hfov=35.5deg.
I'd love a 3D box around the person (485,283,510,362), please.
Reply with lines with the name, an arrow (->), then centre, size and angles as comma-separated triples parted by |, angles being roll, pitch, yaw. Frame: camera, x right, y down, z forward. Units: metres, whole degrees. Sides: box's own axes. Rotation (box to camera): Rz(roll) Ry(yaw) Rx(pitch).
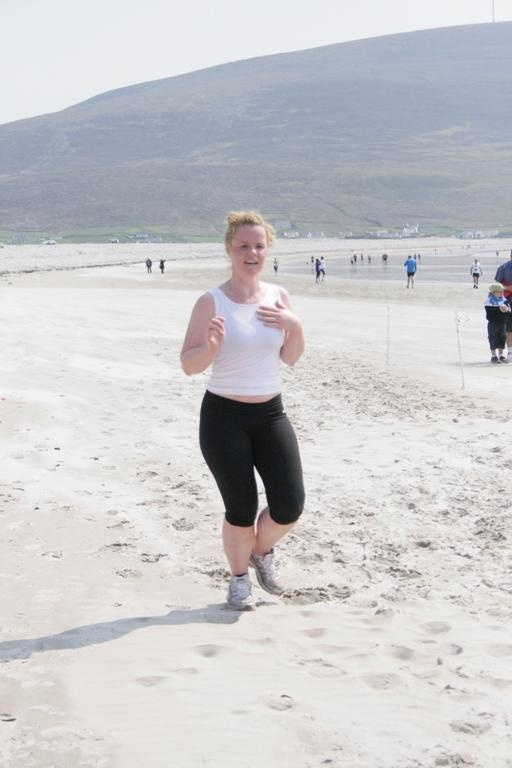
person -> 3.396, -0.870, 11.277 | 0.351, 1.112, 0.770 | 5, 11, 19

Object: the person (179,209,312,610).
person -> -0.066, 0.156, 3.585 | 0.542, 1.829, 0.501 | 1, 11, -6

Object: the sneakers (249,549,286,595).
sneakers -> 0.050, 0.938, 3.989 | 0.090, 0.250, 0.166 | -29, -7, -36
